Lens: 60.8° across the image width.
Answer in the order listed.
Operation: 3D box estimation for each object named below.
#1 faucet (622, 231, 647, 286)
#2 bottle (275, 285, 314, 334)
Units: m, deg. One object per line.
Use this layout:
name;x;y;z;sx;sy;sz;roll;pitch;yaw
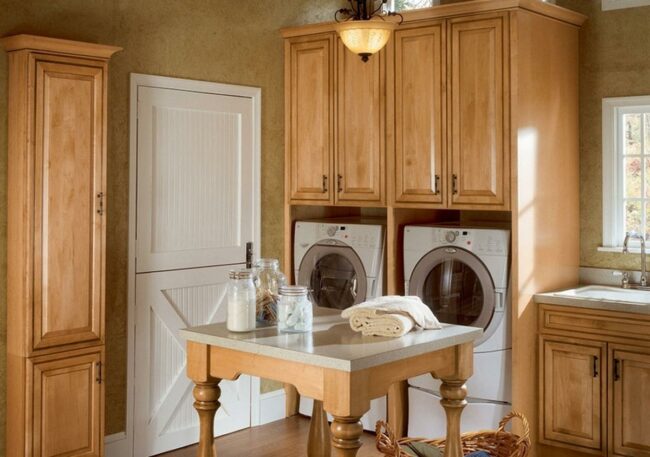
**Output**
faucet;2.300;0.229;4.090;0.171;0.422;0.193;0;4;27
bottle;-0.143;0.380;2.607;0.207;0.227;0.203;0;-4;-2
